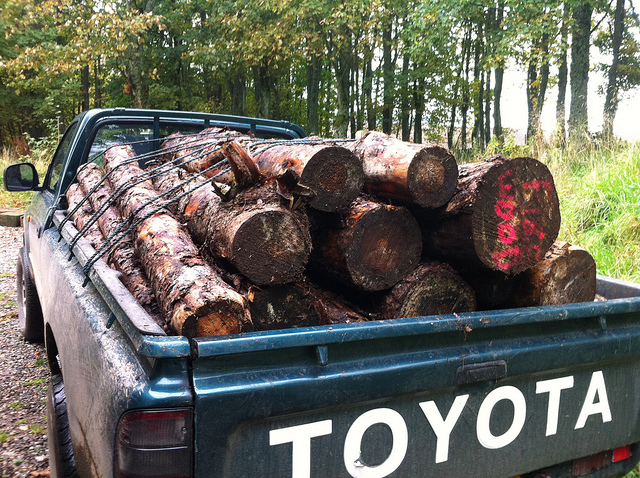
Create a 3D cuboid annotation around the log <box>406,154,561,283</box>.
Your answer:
[{"bbox_3d":[0.948,-0.176,3.693,0.630,0.695,0.989,-2,7,-16],"label":"log"}]

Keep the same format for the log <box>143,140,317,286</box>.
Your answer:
[{"bbox_3d":[-0.536,-0.207,3.608,0.431,0.585,1.407,-14,13,-14],"label":"log"}]

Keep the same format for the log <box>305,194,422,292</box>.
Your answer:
[{"bbox_3d":[0.181,0.021,3.646,0.457,0.483,1.004,-3,5,-17],"label":"log"}]

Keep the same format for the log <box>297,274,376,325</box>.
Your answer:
[{"bbox_3d":[0.097,0.400,3.288,0.277,0.078,0.289,27,7,-44],"label":"log"}]

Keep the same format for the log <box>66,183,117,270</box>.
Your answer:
[{"bbox_3d":[-1.347,-0.062,3.508,0.157,0.163,0.644,-31,39,-3],"label":"log"}]

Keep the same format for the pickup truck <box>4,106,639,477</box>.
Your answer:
[{"bbox_3d":[-0.541,0.089,3.632,1.919,1.687,3.501,-1,17,-28],"label":"pickup truck"}]

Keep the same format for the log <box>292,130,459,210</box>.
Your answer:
[{"bbox_3d":[0.383,-0.436,3.519,0.317,0.315,0.905,7,5,-35],"label":"log"}]

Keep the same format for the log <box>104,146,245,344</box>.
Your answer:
[{"bbox_3d":[-0.883,-0.229,3.350,0.397,0.408,2.005,-7,29,-20],"label":"log"}]
